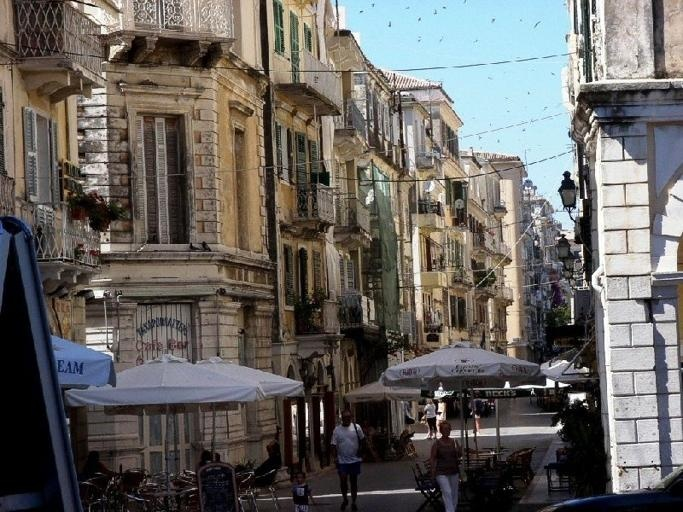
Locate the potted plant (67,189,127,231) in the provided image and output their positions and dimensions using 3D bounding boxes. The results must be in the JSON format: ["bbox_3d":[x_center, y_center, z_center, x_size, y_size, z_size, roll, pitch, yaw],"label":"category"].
[{"bbox_3d":[-5.389,-1.031,37.935,0.472,0.756,1.805,-5,-8,23],"label":"potted plant"}]

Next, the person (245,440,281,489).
[{"bbox_3d":[-1.750,4.570,37.798,0.765,1.117,0.698,2,-4,9],"label":"person"}]

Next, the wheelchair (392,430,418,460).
[{"bbox_3d":[1.908,5.402,50.267,0.658,0.953,0.739,-3,-8,10],"label":"wheelchair"}]
